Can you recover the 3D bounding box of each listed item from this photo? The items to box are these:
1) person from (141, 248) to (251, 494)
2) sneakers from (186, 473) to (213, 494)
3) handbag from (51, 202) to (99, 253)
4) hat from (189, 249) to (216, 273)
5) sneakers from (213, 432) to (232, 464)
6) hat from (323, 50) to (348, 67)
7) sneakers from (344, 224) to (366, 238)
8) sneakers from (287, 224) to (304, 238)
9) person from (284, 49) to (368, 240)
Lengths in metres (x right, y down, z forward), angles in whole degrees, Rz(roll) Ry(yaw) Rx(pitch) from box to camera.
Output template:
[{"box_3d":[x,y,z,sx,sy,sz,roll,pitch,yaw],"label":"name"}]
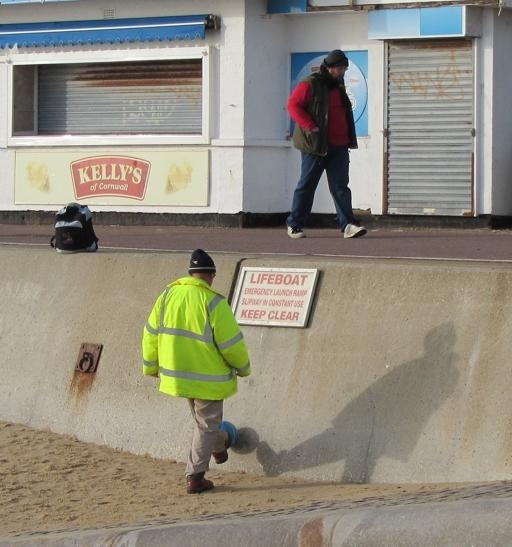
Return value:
[{"box_3d":[-0.470,0.767,11.314,0.829,1.892,0.449,-1,7,-6],"label":"person"},{"box_3d":[-0.448,1.652,11.265,0.095,0.213,0.259,5,11,34],"label":"sneakers"},{"box_3d":[-1.706,-0.428,13.180,0.376,0.474,0.432,-1,-9,13],"label":"handbag"},{"box_3d":[-0.409,-0.099,11.343,0.142,0.146,0.203,0,0,14],"label":"hat"},{"box_3d":[-0.273,1.427,11.589,0.092,0.306,0.109,5,-4,24],"label":"sneakers"},{"box_3d":[0.821,-2.190,14.546,0.193,0.149,0.163,-5,6,16],"label":"hat"},{"box_3d":[1.033,-0.453,15.053,0.101,0.134,0.261,-12,-7,-41],"label":"sneakers"},{"box_3d":[0.413,-0.449,15.251,0.078,0.103,0.217,-2,5,-21],"label":"sneakers"},{"box_3d":[0.732,-1.334,14.851,0.798,1.983,0.665,0,7,0],"label":"person"}]
